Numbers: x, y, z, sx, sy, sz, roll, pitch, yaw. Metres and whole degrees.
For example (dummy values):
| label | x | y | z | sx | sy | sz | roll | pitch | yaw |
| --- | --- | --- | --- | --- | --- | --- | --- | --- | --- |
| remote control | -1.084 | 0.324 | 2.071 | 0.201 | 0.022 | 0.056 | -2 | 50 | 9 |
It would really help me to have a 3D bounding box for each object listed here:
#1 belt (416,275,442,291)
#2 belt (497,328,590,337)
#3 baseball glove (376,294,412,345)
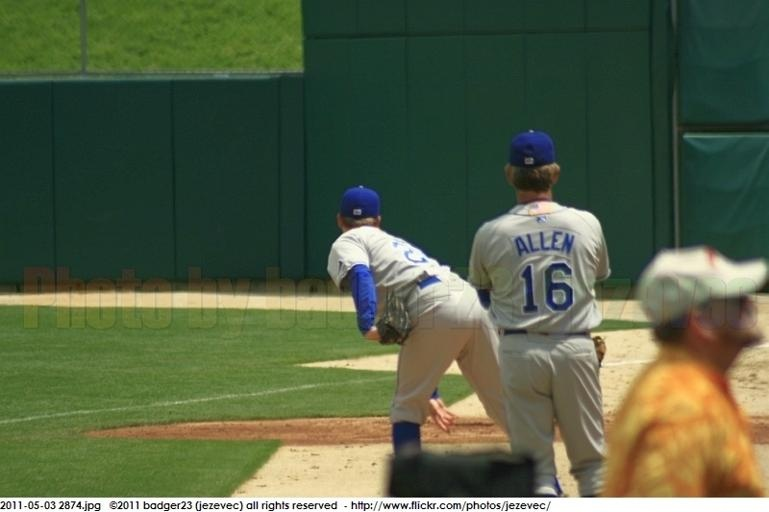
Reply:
| label | x | y | z | sx | sy | sz | roll | pitch | yaw |
| --- | --- | --- | --- | --- | --- | --- | --- | --- | --- |
| belt | 0.633 | 0.402 | 23.095 | 0.301 | 0.145 | 0.175 | -29 | 12 | -7 |
| belt | 2.269 | 1.119 | 22.399 | 1.279 | 0.132 | 0.215 | -1 | 3 | 1 |
| baseball glove | 0.104 | 0.955 | 22.940 | 0.459 | 0.322 | 0.656 | -7 | -43 | 11 |
